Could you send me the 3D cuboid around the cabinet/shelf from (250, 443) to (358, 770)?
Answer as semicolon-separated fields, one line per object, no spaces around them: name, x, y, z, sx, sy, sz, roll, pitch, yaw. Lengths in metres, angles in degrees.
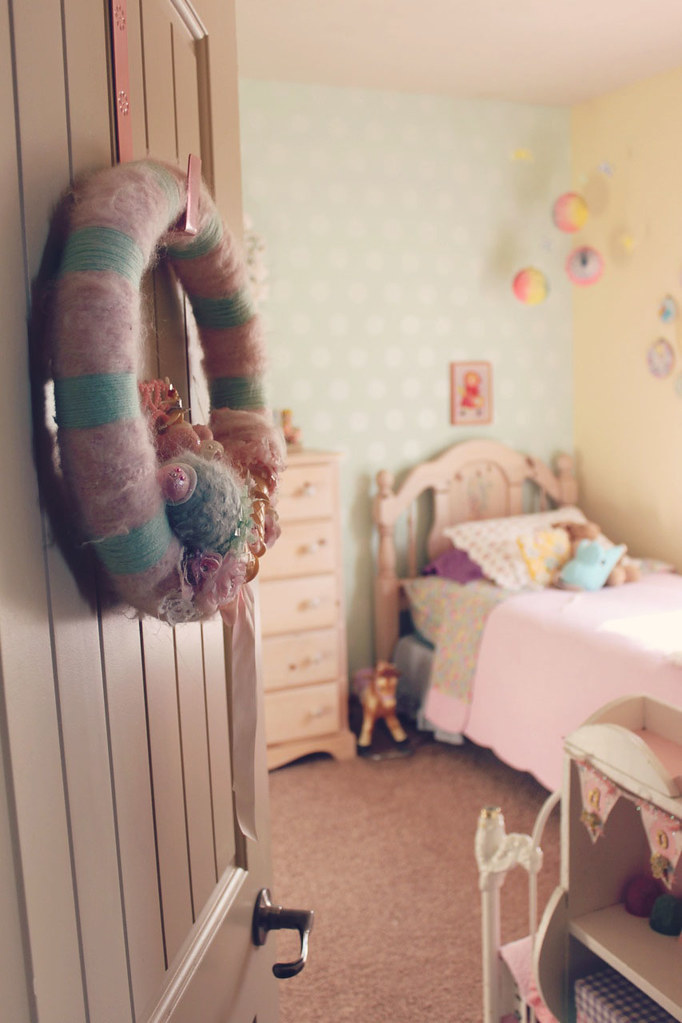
cabinet/shelf;-0.128;0.339;3.078;0.357;1.092;0.200;-5;8;-17

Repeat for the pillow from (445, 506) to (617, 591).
pillow;0.706;0.150;3.209;0.357;0.161;0.373;10;12;28

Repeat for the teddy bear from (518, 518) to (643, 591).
teddy bear;0.830;0.164;3.177;0.332;0.129;0.253;-5;27;-12
